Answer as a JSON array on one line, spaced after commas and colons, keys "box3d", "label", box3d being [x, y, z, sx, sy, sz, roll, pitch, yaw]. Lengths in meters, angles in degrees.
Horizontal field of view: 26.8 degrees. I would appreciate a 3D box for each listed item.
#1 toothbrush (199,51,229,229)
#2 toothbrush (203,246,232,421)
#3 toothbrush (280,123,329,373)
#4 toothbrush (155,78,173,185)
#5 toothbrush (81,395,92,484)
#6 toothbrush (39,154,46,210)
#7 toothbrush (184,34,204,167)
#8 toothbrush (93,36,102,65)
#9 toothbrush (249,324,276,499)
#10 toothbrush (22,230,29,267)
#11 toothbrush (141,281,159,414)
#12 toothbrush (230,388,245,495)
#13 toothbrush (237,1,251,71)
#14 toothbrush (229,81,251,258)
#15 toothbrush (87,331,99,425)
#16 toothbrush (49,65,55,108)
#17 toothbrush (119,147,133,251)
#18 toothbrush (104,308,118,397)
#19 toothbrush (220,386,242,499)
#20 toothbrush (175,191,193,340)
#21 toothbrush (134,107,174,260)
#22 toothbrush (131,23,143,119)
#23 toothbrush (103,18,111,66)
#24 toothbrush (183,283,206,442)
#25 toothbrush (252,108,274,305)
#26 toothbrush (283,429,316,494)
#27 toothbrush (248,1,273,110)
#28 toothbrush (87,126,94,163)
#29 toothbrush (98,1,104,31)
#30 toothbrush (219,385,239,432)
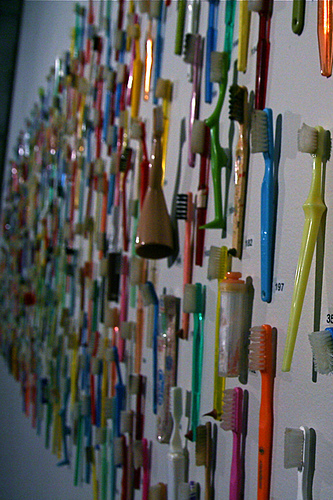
[{"box3d": [0.068, -0.152, 0.962, 0.035, 0.241, 0.056, 1, 5, 4], "label": "toothbrush"}, {"box3d": [0.068, 0.107, 0.932, 0.033, 0.223, 0.116, 1, 5, 4], "label": "toothbrush"}, {"box3d": [0.154, -0.002, 0.788, 0.048, 0.274, 0.019, -1, 5, -17], "label": "toothbrush"}, {"box3d": [-0.009, -0.192, 1.132, 0.022, 0.206, 0.030, -5, -28, 15], "label": "toothbrush"}, {"box3d": [-0.153, 0.359, 1.337, 0.015, 0.163, 0.062, -1, 5, -18], "label": "toothbrush"}, {"box3d": [-0.315, -0.174, 1.782, 0.016, 0.138, 0.051, -1, 5, -17], "label": "toothbrush"}, {"box3d": [0.037, -0.230, 1.043, 0.023, 0.210, 0.024, 2, -20, -3], "label": "toothbrush"}, {"box3d": [-0.144, -0.417, 1.457, 0.010, 0.060, 0.027, -2, 6, -33], "label": "toothbrush"}, {"box3d": [0.115, 0.199, 0.836, 0.030, 0.211, 0.047, 0, 5, -7], "label": "toothbrush"}, {"box3d": [-0.378, -0.005, 1.867, 0.014, 0.097, 0.060, -1, 6, -23], "label": "toothbrush"}, {"box3d": [-0.024, 0.153, 1.083, 0.029, 0.203, 0.023, 8, -12, -39], "label": "toothbrush"}, {"box3d": [0.089, 0.240, 0.875, 0.016, 0.126, 0.027, 1, 5, 7], "label": "toothbrush"}, {"box3d": [0.103, -0.286, 0.931, 0.009, 0.131, 0.014, 4, 6, 19], "label": "toothbrush"}, {"box3d": [0.097, -0.104, 0.920, 0.032, 0.222, 0.029, -2, 5, -27], "label": "toothbrush"}, {"box3d": [-0.144, 0.247, 1.341, 0.009, 0.176, 0.012, 8, 26, 7], "label": "toothbrush"}, {"box3d": [-0.285, -0.408, 1.740, 0.008, 0.103, 0.046, -1, 5, -16], "label": "toothbrush"}, {"box3d": [-0.075, -0.101, 1.253, 0.019, 0.217, 0.013, -2, -3, 42], "label": "toothbrush"}, {"box3d": [-0.100, 0.192, 1.275, 0.023, 0.203, 0.022, -7, 16, -32], "label": "toothbrush"}, {"box3d": [0.084, 0.242, 0.881, 0.024, 0.134, 0.037, -2, 6, -33], "label": "toothbrush"}, {"box3d": [0.029, 0.022, 1.030, 0.015, 0.223, 0.019, -2, -8, 27], "label": "toothbrush"}, {"box3d": [-0.020, -0.102, 1.058, 0.059, 0.229, 0.103, 0, 5, -12], "label": "toothbrush"}, {"box3d": [-0.052, -0.313, 1.257, 0.020, 0.189, 0.015, 5, 8, 42], "label": "toothbrush"}, {"box3d": [-0.122, -0.427, 1.413, 0.011, 0.125, 0.007, 0, -1, 35], "label": "toothbrush"}, {"box3d": [0.039, 0.162, 0.987, 0.030, 0.225, 0.066, 1, 5, 0], "label": "toothbrush"}, {"box3d": [0.120, -0.055, 0.869, 0.028, 0.239, 0.050, 2, 5, 18], "label": "toothbrush"}, {"box3d": [0.149, 0.236, 0.785, 0.034, 0.069, 0.030, 2, 5, 9], "label": "toothbrush"}, {"box3d": [0.122, -0.249, 0.895, 0.025, 0.138, 0.024, 1, 5, 0], "label": "toothbrush"}, {"box3d": [-0.163, -0.224, 1.479, 0.011, 0.073, 0.047, -1, 6, -18], "label": "toothbrush"}, {"box3d": [-0.136, -0.488, 1.456, 0.005, 0.062, 0.027, -1, 6, -23], "label": "toothbrush"}, {"box3d": [0.080, 0.196, 0.891, 0.016, 0.087, 0.020, -3, 33, 1], "label": "toothbrush"}]
